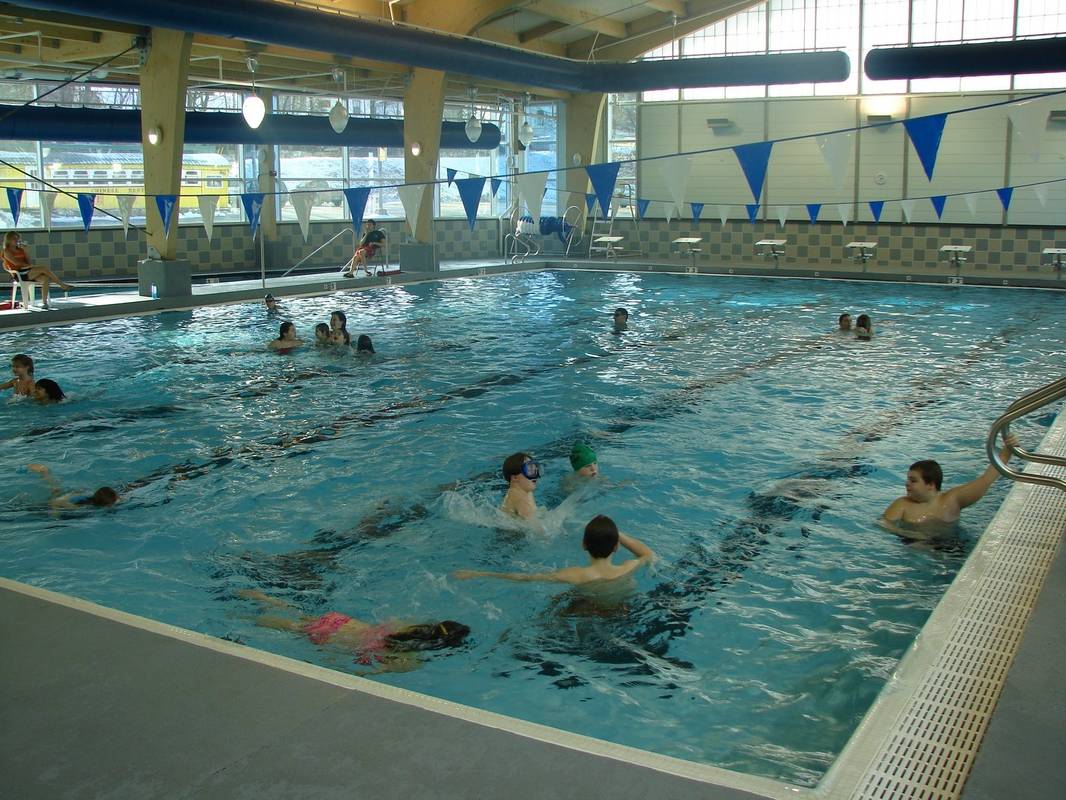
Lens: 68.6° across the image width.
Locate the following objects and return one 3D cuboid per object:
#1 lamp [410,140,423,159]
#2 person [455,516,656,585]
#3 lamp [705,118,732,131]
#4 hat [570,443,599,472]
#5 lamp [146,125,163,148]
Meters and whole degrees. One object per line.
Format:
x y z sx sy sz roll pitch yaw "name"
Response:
-2.056 -4.393 13.713 0.142 0.254 0.157 -12 15 -34 "lamp"
0.040 0.732 3.740 0.935 0.214 0.404 -8 11 -13 "person"
4.022 -5.875 16.723 0.567 0.264 0.231 2 13 19 "lamp"
0.307 0.358 4.834 0.136 0.153 0.159 -3 11 -3 "hat"
-5.189 -3.598 10.618 0.256 0.264 0.102 4 15 27 "lamp"
